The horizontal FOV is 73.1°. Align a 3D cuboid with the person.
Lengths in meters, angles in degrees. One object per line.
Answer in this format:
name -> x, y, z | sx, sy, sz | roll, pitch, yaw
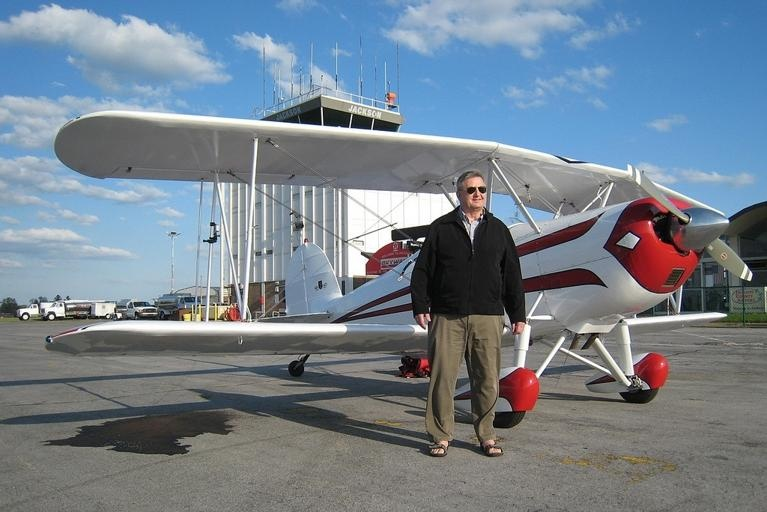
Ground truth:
person -> 0.751, 0.515, 4.585 | 0.976, 2.499, 0.541 | -7, -12, 11
